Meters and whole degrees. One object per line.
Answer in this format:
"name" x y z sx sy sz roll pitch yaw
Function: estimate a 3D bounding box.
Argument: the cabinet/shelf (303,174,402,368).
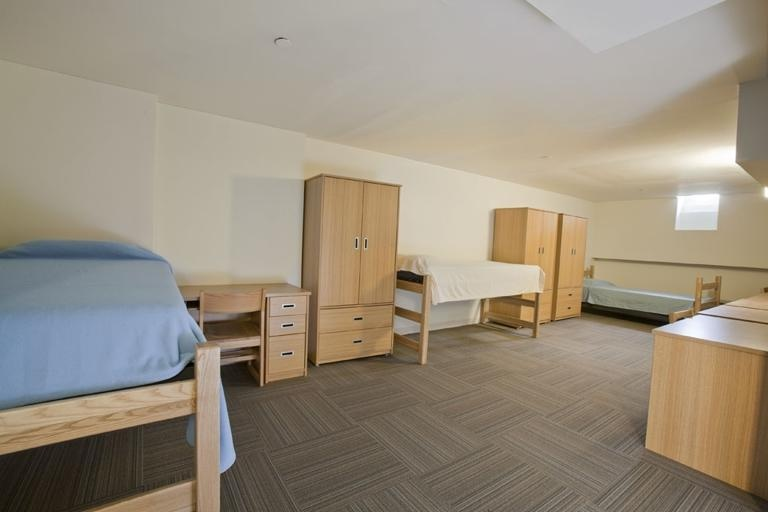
"cabinet/shelf" -0.363 0.158 5.394 1.076 2.105 0.423 0 4 -17

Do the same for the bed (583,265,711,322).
"bed" 4.585 0.753 7.913 1.205 0.767 1.802 -2 4 -32

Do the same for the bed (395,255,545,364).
"bed" 1.034 0.594 6.413 2.197 1.058 1.268 -1 4 -39
